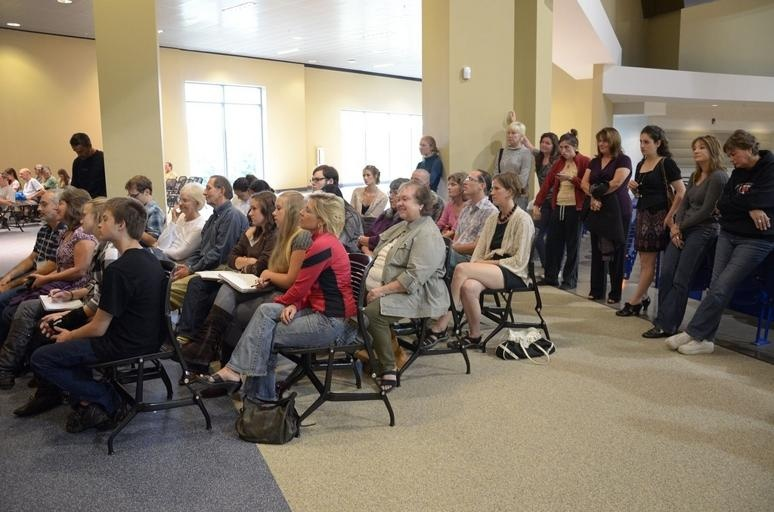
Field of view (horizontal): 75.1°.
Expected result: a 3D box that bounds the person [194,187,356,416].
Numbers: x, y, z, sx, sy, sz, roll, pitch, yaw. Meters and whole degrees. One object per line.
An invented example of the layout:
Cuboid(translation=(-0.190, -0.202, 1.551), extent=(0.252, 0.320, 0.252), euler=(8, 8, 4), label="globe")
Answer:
Cuboid(translation=(-0.718, 0.288, 3.716), extent=(0.970, 1.453, 0.513), euler=(-1, 12, -5), label="person")

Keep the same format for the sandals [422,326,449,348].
Cuboid(translation=(0.432, 0.765, 4.626), extent=(0.126, 0.123, 0.320), euler=(-6, -10, 33), label="sandals")

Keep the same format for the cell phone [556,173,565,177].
Cuboid(translation=(2.265, -1.054, 6.572), extent=(0.070, 0.049, 0.074), euler=(-1, 1, -2), label="cell phone")

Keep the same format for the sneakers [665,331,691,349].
Cuboid(translation=(2.836, 0.791, 4.866), extent=(0.270, 0.126, 0.103), euler=(-30, -2, -7), label="sneakers")

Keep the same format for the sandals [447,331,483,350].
Cuboid(translation=(0.758, 0.805, 4.839), extent=(0.312, 0.122, 0.174), euler=(5, -8, -39), label="sandals")

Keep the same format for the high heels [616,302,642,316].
Cuboid(translation=(2.789, 0.612, 5.819), extent=(0.266, 0.132, 0.137), euler=(0, 2, -7), label="high heels")

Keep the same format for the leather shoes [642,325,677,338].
Cuboid(translation=(2.778, 0.762, 5.143), extent=(0.320, 0.140, 0.120), euler=(1, 0, -11), label="leather shoes")

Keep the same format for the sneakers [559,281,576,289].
Cuboid(translation=(2.492, 0.400, 6.935), extent=(0.185, 0.138, 0.112), euler=(-8, 10, -17), label="sneakers")

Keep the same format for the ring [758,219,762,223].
Cuboid(translation=(3.314, -0.310, 4.474), extent=(0.036, 0.022, 0.002), euler=(4, 13, 15), label="ring")

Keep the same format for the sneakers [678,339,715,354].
Cuboid(translation=(2.927, 0.846, 4.792), extent=(0.300, 0.140, 0.136), euler=(1, 3, 0), label="sneakers")

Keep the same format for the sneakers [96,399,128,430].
Cuboid(translation=(-2.025, 1.171, 3.752), extent=(0.192, 0.245, 0.257), euler=(-15, -19, 43), label="sneakers")

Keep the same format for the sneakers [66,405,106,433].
Cuboid(translation=(-2.199, 1.182, 3.754), extent=(0.339, 0.172, 0.141), euler=(-2, 8, -16), label="sneakers")

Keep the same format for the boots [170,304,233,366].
Cuboid(translation=(-1.533, 0.665, 4.218), extent=(0.496, 0.540, 0.240), euler=(13, -8, 20), label="boots")

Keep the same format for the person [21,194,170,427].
Cuboid(translation=(-2.109, 0.438, 3.639), extent=(1.060, 1.678, 0.448), euler=(1, 12, 1), label="person")
